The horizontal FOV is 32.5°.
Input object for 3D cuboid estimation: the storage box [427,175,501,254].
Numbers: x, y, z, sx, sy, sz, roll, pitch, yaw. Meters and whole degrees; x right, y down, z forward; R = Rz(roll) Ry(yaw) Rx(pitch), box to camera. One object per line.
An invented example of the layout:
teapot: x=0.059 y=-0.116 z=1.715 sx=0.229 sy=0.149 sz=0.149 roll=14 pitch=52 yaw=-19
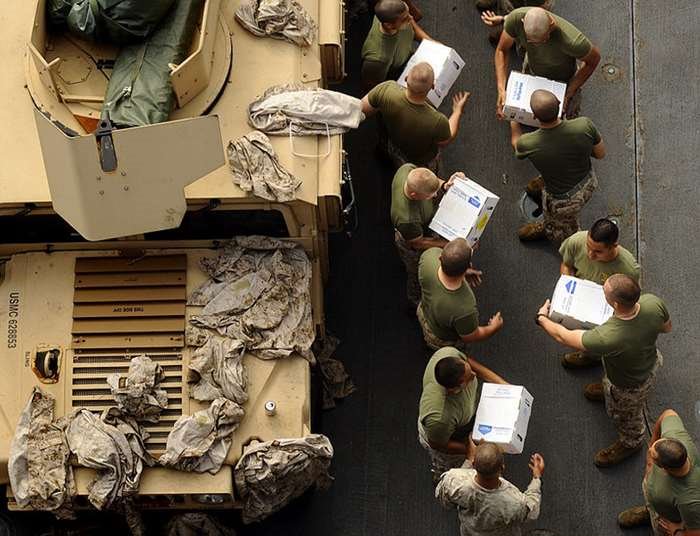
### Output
storage box: x=1.360 y=-0.704 z=14.224 sx=0.694 sy=0.802 sz=0.735 roll=29 pitch=19 yaw=9

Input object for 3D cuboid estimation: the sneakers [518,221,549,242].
sneakers: x=2.349 y=-0.464 z=15.258 sx=0.404 sy=0.199 sz=0.193 roll=-5 pitch=-7 yaw=24

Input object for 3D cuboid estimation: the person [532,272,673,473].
person: x=2.990 y=1.319 z=13.969 sx=0.773 sy=1.795 sz=0.858 roll=22 pitch=68 yaw=28

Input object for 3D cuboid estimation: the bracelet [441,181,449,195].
bracelet: x=1.153 y=-0.950 z=14.256 sx=0.029 sy=0.105 sz=0.105 roll=8 pitch=35 yaw=-25

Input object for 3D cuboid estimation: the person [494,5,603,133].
person: x=2.465 y=-2.424 z=14.896 sx=0.840 sy=1.082 sz=1.844 roll=23 pitch=10 yaw=15

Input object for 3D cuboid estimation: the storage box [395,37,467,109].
storage box: x=0.994 y=-2.392 z=14.759 sx=0.768 sy=0.858 sz=0.512 roll=35 pitch=13 yaw=11

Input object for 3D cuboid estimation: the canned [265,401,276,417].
canned: x=-0.900 y=1.605 z=13.412 sx=0.113 sy=0.124 sz=0.152 roll=-8 pitch=73 yaw=-3

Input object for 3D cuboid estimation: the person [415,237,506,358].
person: x=1.212 y=0.441 z=13.770 sx=0.956 sy=1.893 sz=0.629 roll=14 pitch=36 yaw=9

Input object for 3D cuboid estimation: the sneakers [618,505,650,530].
sneakers: x=3.355 y=2.957 z=14.143 sx=0.458 sy=0.209 sz=0.207 roll=-13 pitch=-8 yaw=15

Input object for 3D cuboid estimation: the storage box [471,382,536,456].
storage box: x=1.704 y=1.628 z=13.352 sx=0.592 sy=0.796 sz=0.433 roll=9 pitch=-11 yaw=23
